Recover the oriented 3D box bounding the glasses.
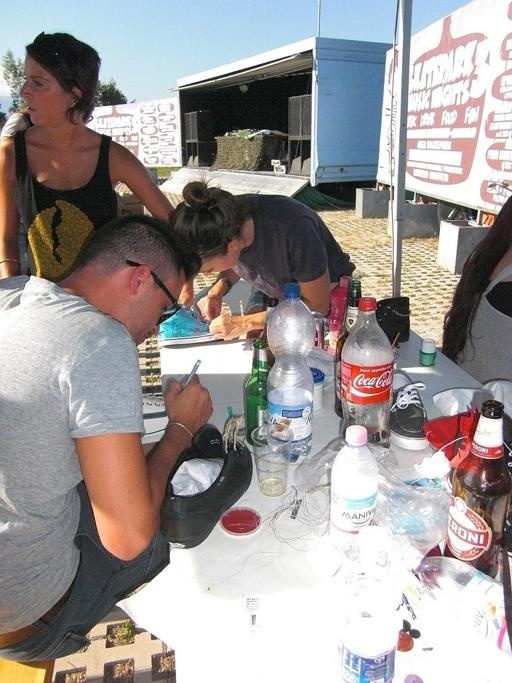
[{"bbox_3d":[-0.238,-0.124,1.328,0.035,0.125,0.127,-34,1,-28],"label":"glasses"}]

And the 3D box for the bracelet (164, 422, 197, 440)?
[{"bbox_3d":[-0.191,0.231,1.377,0.063,0.030,0.051,4,0,-12],"label":"bracelet"}]

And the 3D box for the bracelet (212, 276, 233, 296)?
[{"bbox_3d":[-0.199,-0.338,3.148,0.085,0.056,0.136,-20,2,12],"label":"bracelet"}]

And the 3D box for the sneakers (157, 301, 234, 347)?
[{"bbox_3d":[-0.271,-0.088,2.505,0.396,0.155,0.131,-16,21,-41],"label":"sneakers"}]

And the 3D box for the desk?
[{"bbox_3d":[0.117,0.413,1.212,0.609,0.202,0.853,1,38,1],"label":"desk"}]

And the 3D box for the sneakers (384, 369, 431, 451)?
[{"bbox_3d":[0.437,0.204,1.598,0.094,0.094,0.245,-4,26,3],"label":"sneakers"}]

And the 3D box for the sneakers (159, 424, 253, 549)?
[{"bbox_3d":[-0.106,0.336,1.269,0.118,0.142,0.311,8,30,20],"label":"sneakers"}]

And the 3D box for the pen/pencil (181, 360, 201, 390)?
[{"bbox_3d":[-0.221,0.115,1.790,0.027,0.021,0.156,6,34,15],"label":"pen/pencil"}]
